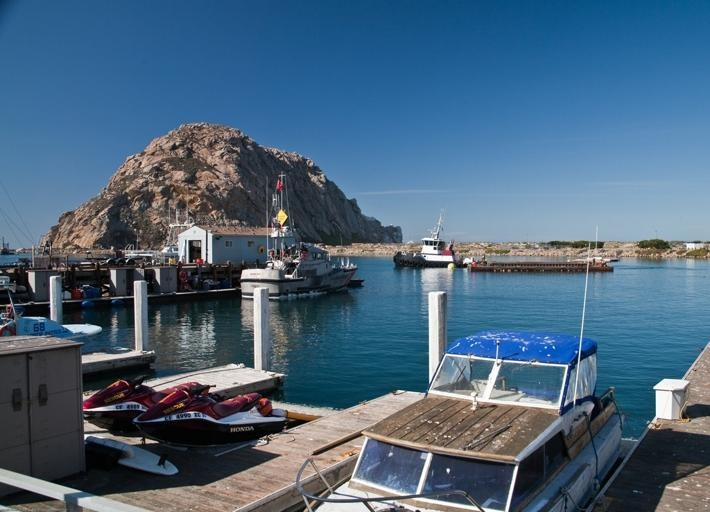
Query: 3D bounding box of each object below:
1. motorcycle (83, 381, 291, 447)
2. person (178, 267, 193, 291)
[{"bbox_3d":[-4.149,3.817,13.957,4.480,1.566,1.268,1,0,-20],"label":"motorcycle"},{"bbox_3d":[-15.197,2.115,50.318,0.743,1.786,1.468,4,8,5],"label":"person"}]
